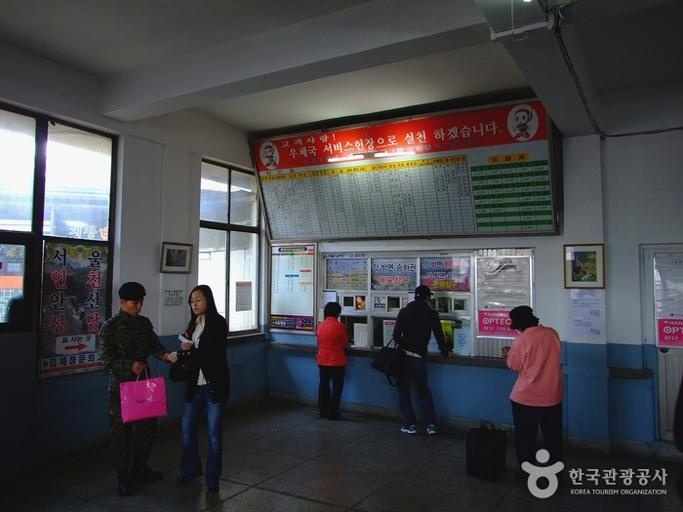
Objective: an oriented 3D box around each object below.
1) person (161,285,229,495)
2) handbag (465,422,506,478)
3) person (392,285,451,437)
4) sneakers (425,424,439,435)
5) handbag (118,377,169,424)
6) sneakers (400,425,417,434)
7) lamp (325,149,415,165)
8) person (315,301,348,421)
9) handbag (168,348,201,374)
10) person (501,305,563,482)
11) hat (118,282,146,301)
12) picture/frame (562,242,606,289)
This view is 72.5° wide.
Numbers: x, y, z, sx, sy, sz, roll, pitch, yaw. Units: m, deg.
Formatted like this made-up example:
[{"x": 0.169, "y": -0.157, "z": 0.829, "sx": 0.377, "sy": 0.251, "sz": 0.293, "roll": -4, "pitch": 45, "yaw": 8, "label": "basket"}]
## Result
[{"x": -1.251, "y": 1.158, "z": 4.132, "sx": 0.507, "sy": 1.776, "sz": 0.359, "roll": 1, "pitch": -1, "yaw": -3, "label": "person"}, {"x": 1.400, "y": 1.887, "z": 4.464, "sx": 0.377, "sy": 0.531, "sz": 0.288, "roll": -5, "pitch": -28, "yaw": 24, "label": "handbag"}, {"x": 0.933, "y": 1.217, "z": 5.512, "sx": 0.621, "sy": 1.714, "sz": 0.261, "roll": 0, "pitch": -1, "yaw": 14, "label": "person"}, {"x": 1.040, "y": 2.016, "z": 5.370, "sx": 0.082, "sy": 0.071, "sz": 0.152, "roll": 3, "pitch": 4, "yaw": 16, "label": "sneakers"}, {"x": -1.732, "y": 1.214, "z": 4.021, "sx": 0.135, "sy": 0.380, "sz": 0.396, "roll": -14, "pitch": -12, "yaw": 42, "label": "handbag"}, {"x": 0.789, "y": 2.036, "z": 5.481, "sx": 0.076, "sy": 0.090, "sz": 0.180, "roll": 3, "pitch": -4, "yaw": -11, "label": "sneakers"}, {"x": 0.412, "y": -1.248, "z": 5.898, "sx": 0.915, "sy": 0.139, "sz": 0.078, "roll": 0, "pitch": 8, "yaw": 19, "label": "lamp"}, {"x": -0.119, "y": 1.347, "z": 5.989, "sx": 0.391, "sy": 1.476, "sz": 0.226, "roll": 0, "pitch": -1, "yaw": 1, "label": "person"}, {"x": -1.361, "y": 0.928, "z": 4.016, "sx": 0.181, "sy": 0.265, "sz": 0.082, "roll": 10, "pitch": -2, "yaw": 19, "label": "handbag"}, {"x": 1.759, "y": 1.189, "z": 4.230, "sx": 0.465, "sy": 1.432, "sz": 0.301, "roll": 0, "pitch": -1, "yaw": 23, "label": "person"}, {"x": -1.896, "y": 0.301, "z": 4.204, "sx": 0.169, "sy": 0.157, "sz": 0.185, "roll": 0, "pitch": 7, "yaw": 3, "label": "hat"}, {"x": 2.706, "y": 0.127, "z": 5.178, "sx": 0.401, "sy": 0.547, "sz": 0.019, "roll": -2, "pitch": -29, "yaw": 32, "label": "picture/frame"}]
